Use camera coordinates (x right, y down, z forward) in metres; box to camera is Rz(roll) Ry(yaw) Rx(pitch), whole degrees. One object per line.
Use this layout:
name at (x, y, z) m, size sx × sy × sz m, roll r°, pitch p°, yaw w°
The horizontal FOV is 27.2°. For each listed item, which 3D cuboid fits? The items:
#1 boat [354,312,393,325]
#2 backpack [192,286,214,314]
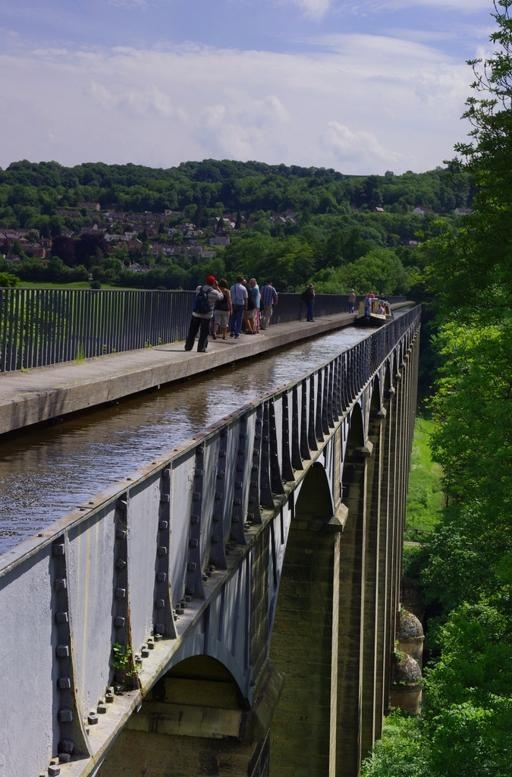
boat at (4.657, -2.755, 42.257) m, size 1.548 × 0.623 × 2.576 m, roll 0°, pitch 11°, yaw 7°
backpack at (-0.933, -1.491, 18.202) m, size 0.304 × 0.517 × 0.393 m, roll 4°, pitch 11°, yaw -5°
